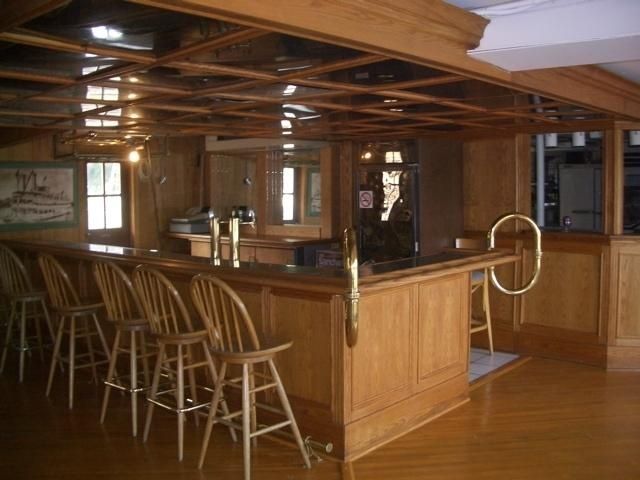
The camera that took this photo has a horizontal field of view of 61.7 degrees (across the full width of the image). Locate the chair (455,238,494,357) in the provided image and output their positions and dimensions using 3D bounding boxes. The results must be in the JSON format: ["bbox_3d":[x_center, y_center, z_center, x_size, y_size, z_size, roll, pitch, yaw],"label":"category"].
[{"bbox_3d":[1.785,0.673,6.197,0.517,1.352,0.883,3,9,15],"label":"chair"}]

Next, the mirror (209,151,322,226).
[{"bbox_3d":[-0.757,-0.782,8.089,1.703,0.756,0.115,2,5,31],"label":"mirror"}]
